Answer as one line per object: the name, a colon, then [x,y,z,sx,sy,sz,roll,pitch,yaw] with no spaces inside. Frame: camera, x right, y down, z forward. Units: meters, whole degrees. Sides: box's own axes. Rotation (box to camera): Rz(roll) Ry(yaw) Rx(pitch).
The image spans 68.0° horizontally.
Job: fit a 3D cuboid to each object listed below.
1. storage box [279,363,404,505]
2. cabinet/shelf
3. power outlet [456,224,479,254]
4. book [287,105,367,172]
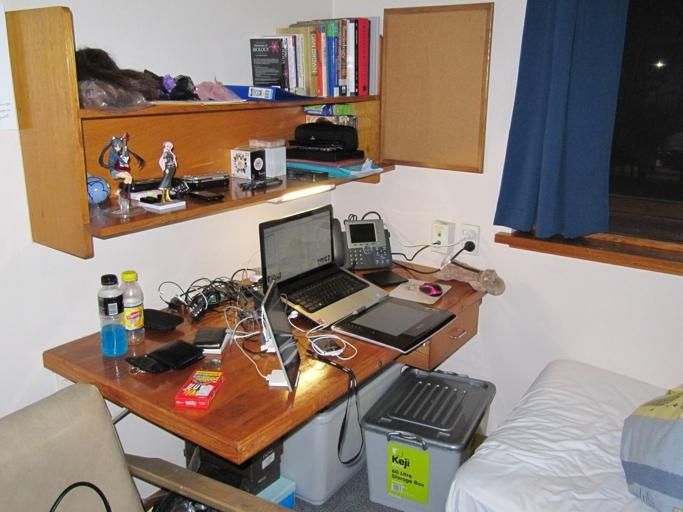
storage box: [-0.024,0.779,2.487,0.430,0.380,0.628,13,26,35]
cabinet/shelf: [-0.569,-0.515,2.053,0.485,0.868,1.310,14,26,40]
power outlet: [0.677,-0.091,2.623,0.127,0.167,0.045,14,23,35]
book: [-0.077,-0.573,2.491,0.350,0.206,0.338,8,18,25]
